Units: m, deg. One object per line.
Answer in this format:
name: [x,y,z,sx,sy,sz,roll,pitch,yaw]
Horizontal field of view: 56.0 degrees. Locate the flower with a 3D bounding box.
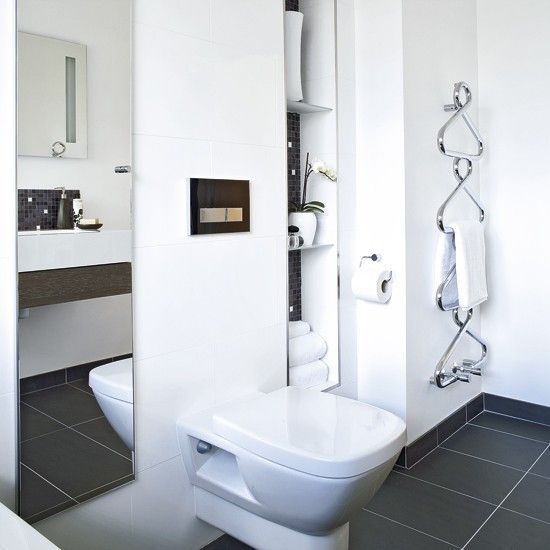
flower: [0.161,-0.390,2.181,0.196,0.258,0.230,0,8,4]

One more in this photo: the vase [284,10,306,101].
vase: [0.082,-0.841,2.005,0.057,0.329,0.133,3,8,28]

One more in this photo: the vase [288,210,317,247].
vase: [0.123,-0.196,2.144,0.111,0.155,0.117,2,3,27]

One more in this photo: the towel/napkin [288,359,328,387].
towel/napkin: [0.127,0.399,2.088,0.104,0.048,0.111,-1,3,-22]
